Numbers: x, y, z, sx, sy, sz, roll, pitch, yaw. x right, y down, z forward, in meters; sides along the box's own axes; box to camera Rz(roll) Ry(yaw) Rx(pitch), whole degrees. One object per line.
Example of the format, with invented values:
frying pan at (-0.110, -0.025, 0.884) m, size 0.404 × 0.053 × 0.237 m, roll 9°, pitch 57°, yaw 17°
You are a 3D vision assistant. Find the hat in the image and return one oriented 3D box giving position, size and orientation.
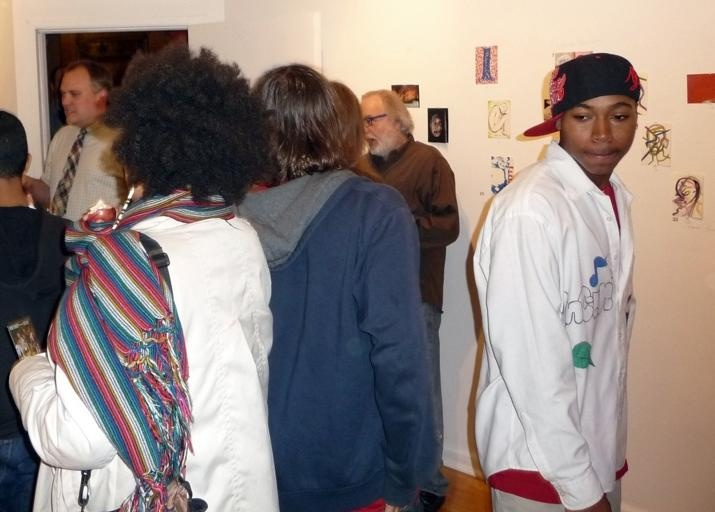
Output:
hat at (0.716, -0.532, 2.030) m, size 0.326 × 0.170 × 0.200 m, roll -29°, pitch -13°, yaw 33°
